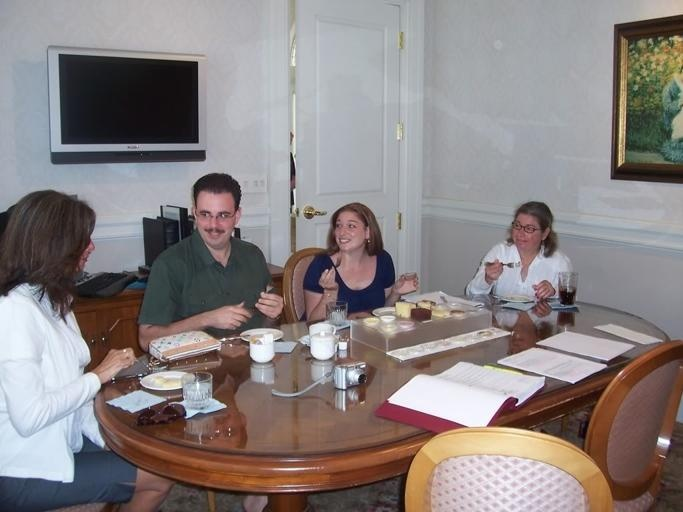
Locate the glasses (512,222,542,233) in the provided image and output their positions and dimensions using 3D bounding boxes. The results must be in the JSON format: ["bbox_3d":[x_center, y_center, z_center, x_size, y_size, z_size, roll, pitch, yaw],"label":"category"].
[{"bbox_3d":[1.064,-0.165,3.021,0.147,0.056,0.047,8,15,26],"label":"glasses"}]

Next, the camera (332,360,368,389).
[{"bbox_3d":[0.023,0.369,1.760,0.119,0.087,0.071,-1,2,-39],"label":"camera"}]

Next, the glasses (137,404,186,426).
[{"bbox_3d":[-0.524,0.462,1.529,0.070,0.020,0.071,-11,4,-22],"label":"glasses"}]

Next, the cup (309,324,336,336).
[{"bbox_3d":[-0.079,0.281,2.055,0.065,0.052,0.052,1,3,1],"label":"cup"}]

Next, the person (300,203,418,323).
[{"bbox_3d":[0.083,0.240,2.844,0.540,1.026,0.478,-4,13,-14],"label":"person"}]

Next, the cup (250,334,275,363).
[{"bbox_3d":[-0.284,0.335,1.935,0.093,0.102,0.094,0,2,0],"label":"cup"}]

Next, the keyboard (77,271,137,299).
[{"bbox_3d":[-1.319,0.155,2.970,0.154,0.052,0.164,4,17,13],"label":"keyboard"}]

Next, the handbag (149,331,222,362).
[{"bbox_3d":[-0.582,0.332,1.957,0.135,0.040,0.135,-9,15,-36],"label":"handbag"}]

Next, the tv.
[{"bbox_3d":[-1.310,-0.933,3.294,0.930,0.711,0.070,-2,-2,-13],"label":"tv"}]

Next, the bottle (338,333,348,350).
[{"bbox_3d":[0.010,0.339,2.051,0.026,0.045,0.046,0,3,2],"label":"bottle"}]

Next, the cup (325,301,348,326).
[{"bbox_3d":[-0.019,0.250,2.280,0.087,0.103,0.090,3,7,0],"label":"cup"}]

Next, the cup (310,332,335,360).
[{"bbox_3d":[-0.067,0.337,1.958,0.085,0.089,0.086,0,-7,0],"label":"cup"}]
